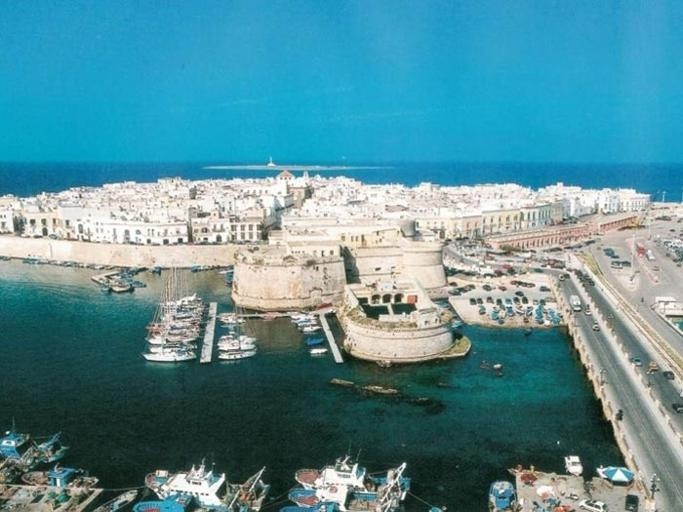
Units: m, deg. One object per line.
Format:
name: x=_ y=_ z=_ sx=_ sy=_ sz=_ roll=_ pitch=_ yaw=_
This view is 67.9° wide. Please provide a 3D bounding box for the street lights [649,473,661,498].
street lights: x=11.062 y=8.012 z=17.787 sx=0.366 sy=0.264 sz=0.753 roll=2 pitch=27 yaw=21
